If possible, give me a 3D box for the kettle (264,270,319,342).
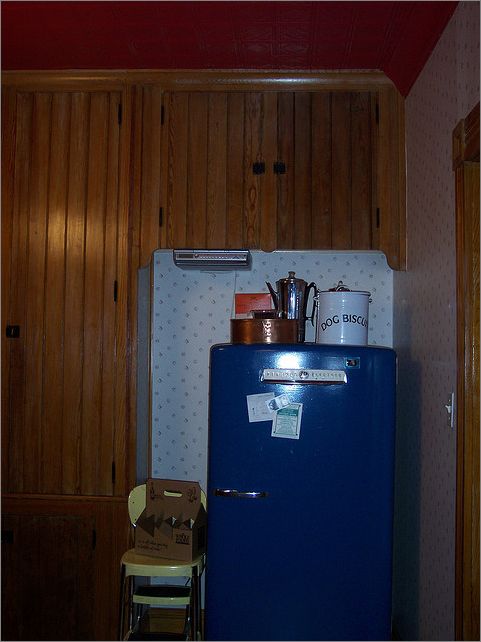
[{"bbox_3d":[0.236,-0.061,2.604,0.156,0.373,0.132,-1,7,6],"label":"kettle"}]

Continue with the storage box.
[{"bbox_3d":[-0.282,0.779,2.458,0.216,0.364,0.214,5,5,5],"label":"storage box"}]
